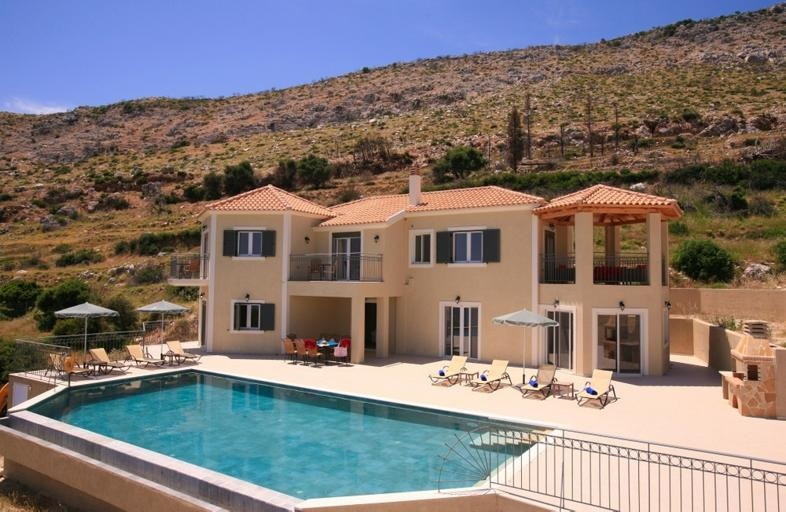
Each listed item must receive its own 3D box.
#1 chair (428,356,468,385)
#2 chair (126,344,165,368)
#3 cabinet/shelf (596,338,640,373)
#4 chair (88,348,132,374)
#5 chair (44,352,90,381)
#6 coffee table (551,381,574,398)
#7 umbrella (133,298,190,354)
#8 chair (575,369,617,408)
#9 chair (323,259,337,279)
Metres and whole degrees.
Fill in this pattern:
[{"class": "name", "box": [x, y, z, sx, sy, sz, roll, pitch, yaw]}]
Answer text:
[{"class": "chair", "box": [3.470, 7.118, 43.979, 2.311, 1.675, 1.465, 0, -5, -3]}, {"class": "chair", "box": [-16.418, 6.603, 46.674, 2.591, 1.248, 1.200, 0, -2, 35]}, {"class": "cabinet/shelf", "box": [14.468, 6.274, 45.380, 3.285, 2.536, 1.941, 1, 6, 12]}, {"class": "chair", "box": [-18.371, 6.702, 45.578, 2.567, 1.331, 1.342, 8, 4, 27]}, {"class": "chair", "box": [-20.332, 6.952, 44.491, 2.422, 1.741, 1.748, -4, -6, 35]}, {"class": "coffee table", "box": [10.223, 8.039, 42.275, 1.020, 0.800, 1.006, -2, 1, -40]}, {"class": "umbrella", "box": [-17.577, 5.485, 53.823, 3.335, 3.698, 3.423, -2, -2, 25]}, {"class": "chair", "box": [11.810, 7.659, 41.080, 1.604, 1.748, 2.711, 0, 0, 40]}, {"class": "chair", "box": [-4.387, 0.906, 49.957, 1.030, 1.497, 0.750, 0, -5, -6]}]
